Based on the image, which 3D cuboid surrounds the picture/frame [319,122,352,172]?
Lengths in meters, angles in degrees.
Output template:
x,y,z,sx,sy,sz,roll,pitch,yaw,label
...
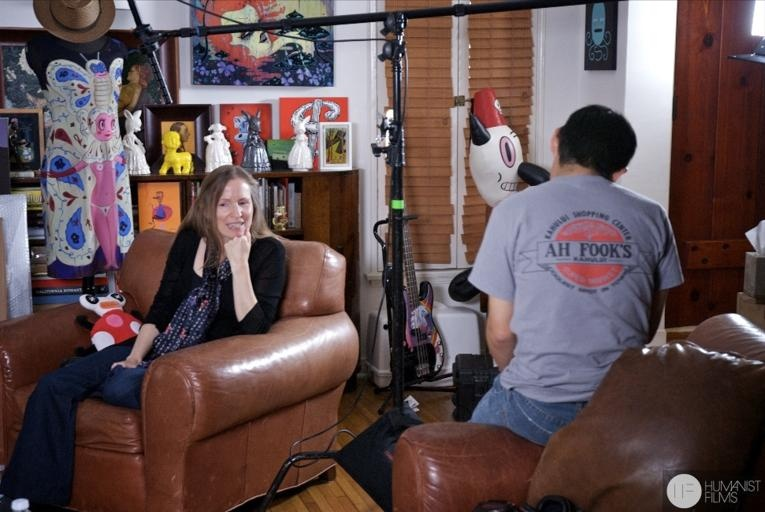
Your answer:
x,y,z,sx,sy,sz,roll,pitch,yaw,label
-0.298,-0.703,4.078,0.222,0.294,0.141,-2,7,-14,picture/frame
